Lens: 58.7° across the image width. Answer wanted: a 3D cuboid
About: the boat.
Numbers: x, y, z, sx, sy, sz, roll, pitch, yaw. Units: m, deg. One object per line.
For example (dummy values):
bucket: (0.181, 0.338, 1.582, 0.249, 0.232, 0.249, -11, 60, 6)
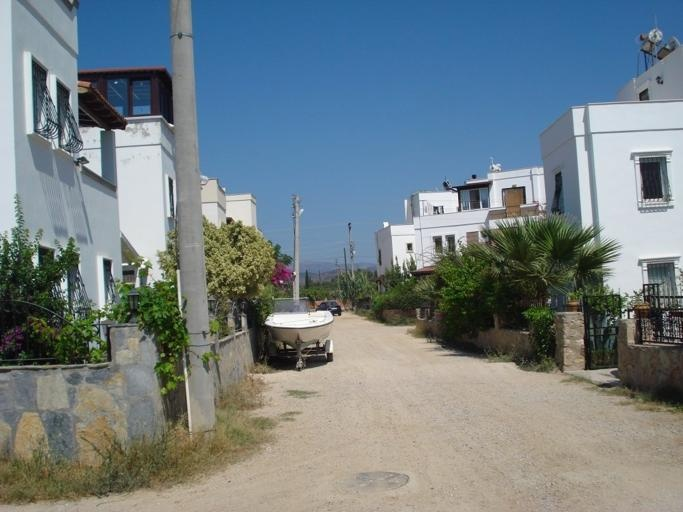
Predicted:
boat: (-1.767, 3.045, 23.880, 2.154, 2.541, 5.233, -1, -4, -1)
